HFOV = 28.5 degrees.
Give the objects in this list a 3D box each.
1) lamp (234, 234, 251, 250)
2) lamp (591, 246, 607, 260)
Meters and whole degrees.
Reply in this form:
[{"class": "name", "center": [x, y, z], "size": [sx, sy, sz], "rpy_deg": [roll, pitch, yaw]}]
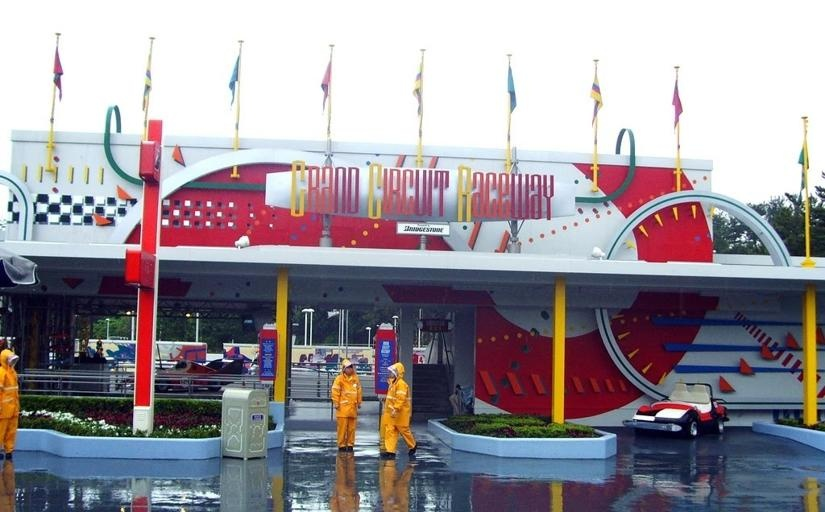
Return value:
[{"class": "lamp", "center": [-6.539, -0.542, 61.690], "size": [0.568, 0.405, 0.724], "rpy_deg": [-1, -6, -41]}, {"class": "lamp", "center": [7.294, -0.096, 63.261], "size": [0.492, 0.616, 0.708], "rpy_deg": [-1, -28, 5]}]
